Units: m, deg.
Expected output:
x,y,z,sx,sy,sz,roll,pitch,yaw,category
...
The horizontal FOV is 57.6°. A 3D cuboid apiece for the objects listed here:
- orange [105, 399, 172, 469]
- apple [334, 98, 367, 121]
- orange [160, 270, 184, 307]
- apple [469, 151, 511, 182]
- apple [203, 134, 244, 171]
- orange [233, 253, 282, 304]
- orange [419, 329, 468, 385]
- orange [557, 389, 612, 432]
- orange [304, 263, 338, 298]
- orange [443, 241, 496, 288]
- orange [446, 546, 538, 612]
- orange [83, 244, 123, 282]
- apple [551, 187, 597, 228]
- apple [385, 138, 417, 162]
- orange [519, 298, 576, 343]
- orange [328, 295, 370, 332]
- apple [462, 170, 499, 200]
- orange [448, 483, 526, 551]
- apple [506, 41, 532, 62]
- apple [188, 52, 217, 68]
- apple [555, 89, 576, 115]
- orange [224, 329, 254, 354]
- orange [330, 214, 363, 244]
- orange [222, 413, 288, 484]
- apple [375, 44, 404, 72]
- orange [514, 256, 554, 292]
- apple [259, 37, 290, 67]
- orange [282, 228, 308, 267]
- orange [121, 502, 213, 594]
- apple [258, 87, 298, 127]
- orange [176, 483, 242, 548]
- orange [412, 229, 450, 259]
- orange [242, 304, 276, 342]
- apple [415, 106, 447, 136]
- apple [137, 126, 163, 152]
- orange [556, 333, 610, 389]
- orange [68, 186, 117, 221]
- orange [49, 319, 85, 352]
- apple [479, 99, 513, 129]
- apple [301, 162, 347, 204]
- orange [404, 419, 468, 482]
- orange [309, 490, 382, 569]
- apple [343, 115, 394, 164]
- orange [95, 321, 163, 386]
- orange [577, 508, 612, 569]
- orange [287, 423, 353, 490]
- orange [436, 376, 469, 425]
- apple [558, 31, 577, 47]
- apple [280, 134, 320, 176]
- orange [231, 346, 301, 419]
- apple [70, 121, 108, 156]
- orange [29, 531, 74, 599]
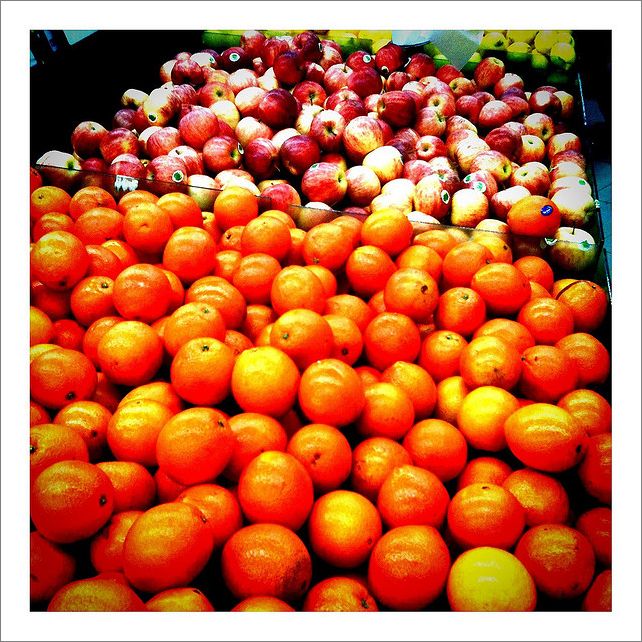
x,y,z,sx,sy,sz,roll,pitch,yaw,category
-0.469,0.284,1.583,0.155,0.171,0.157,-21,-3,-13,orange
0.187,-1.229,3.424,0.139,0.158,0.146,-9,16,38,apple
-0.490,-0.100,1.911,0.074,0.098,0.076,-28,8,5,orange
0.938,-0.843,3.231,0.143,0.133,0.129,25,-20,5,apple
-0.544,-0.913,3.227,0.182,0.217,0.197,2,1,-5,apple
-0.221,-0.149,2.061,0.145,0.191,0.151,-19,43,-19,orange
0.388,0.105,1.853,0.134,0.190,0.146,-6,26,-11,orange
0.761,0.276,1.726,0.123,0.125,0.148,44,2,24,orange
0.010,-0.139,2.030,0.097,0.135,0.104,-2,-12,-24,orange
0.518,-0.205,2.091,0.180,0.171,0.157,-14,-24,37,orange
0.377,0.609,1.323,0.181,0.161,0.199,-8,-25,25,orange
-0.719,-0.190,1.943,0.120,0.119,0.110,16,34,7,orange
1.275,-0.572,2.933,0.220,0.217,0.201,7,22,11,apple
0.459,-0.990,3.410,0.162,0.155,0.153,-5,49,-13,apple
0.772,0.012,2.034,0.145,0.164,0.156,0,-32,0,orange
0.102,-0.035,1.961,0.112,0.129,0.117,1,4,2,orange
0.861,-0.725,3.189,0.156,0.207,0.169,-25,2,20,apple
0.386,0.459,1.370,0.142,0.164,0.148,-5,10,-1,orange
1.378,-1.859,4.047,0.183,0.138,0.100,-2,14,2,apple
-0.778,-1.734,3.888,0.128,0.079,0.131,6,20,-40,apple
1.575,-1.385,3.761,0.077,0.138,0.151,1,-13,23,apple
-0.251,0.060,1.827,0.065,0.079,0.071,-3,5,4,orange
0.098,-0.361,2.292,0.102,0.143,0.114,2,-23,-5,orange
-0.180,0.307,1.580,0.152,0.203,0.158,-13,33,-23,orange
0.464,-1.750,3.901,0.194,0.195,0.120,-1,14,6,apple
0.823,-0.171,2.316,0.141,0.164,0.146,-7,1,-7,orange
-0.298,-1.749,3.907,0.180,0.248,0.204,4,6,3,apple
-0.088,-0.264,2.291,0.112,0.129,0.153,-2,44,6,orange
-0.324,0.484,1.319,0.181,0.161,0.155,-21,-16,7,orange
-0.247,-1.250,3.454,0.240,0.219,0.134,-4,14,-7,apple
-0.260,0.441,1.368,0.124,0.144,0.131,-6,-13,-5,orange
0.441,-0.310,2.297,0.118,0.138,0.119,3,7,7,orange
-0.213,0.001,1.964,0.107,0.120,0.101,-4,6,-41,orange
0.659,-1.194,3.562,0.195,0.185,0.174,-19,14,12,apple
-1.001,-1.050,3.438,0.145,0.207,0.159,3,9,-7,apple
0.864,0.147,1.957,0.146,0.180,0.174,10,-30,13,orange
-0.888,-0.456,2.295,0.139,0.164,0.145,-21,17,-36,orange
-0.811,0.046,1.876,0.090,0.106,0.095,5,-6,5,orange
1.097,-1.278,3.641,0.213,0.169,0.117,-1,14,6,apple
0.014,-0.700,3.129,0.209,0.240,0.222,-1,24,2,apple
0.313,0.326,1.630,0.147,0.172,0.153,4,11,0,orange
0.068,0.514,1.454,0.189,0.174,0.212,4,-4,-18,orange
0.277,-1.082,3.341,0.190,0.181,0.184,10,38,-43,apple
-0.544,0.096,1.672,0.170,0.185,0.182,-2,-12,-7,orange
0.688,0.559,1.511,0.088,0.056,0.114,11,51,-9,orange
-0.009,0.338,1.513,0.146,0.161,0.159,5,44,0,orange
0.397,0.238,1.771,0.106,0.153,0.116,3,-3,7,orange
1.631,-1.862,3.859,0.086,0.117,0.091,-8,8,-21,apple
-0.098,-0.924,3.230,0.195,0.232,0.211,-18,21,-26,apple
-0.141,0.163,1.645,0.160,0.220,0.176,-10,14,26,orange
-1.332,-1.035,3.356,0.158,0.191,0.162,39,39,5,apple
-0.615,0.561,1.335,0.093,0.137,0.072,3,2,-18,orange
